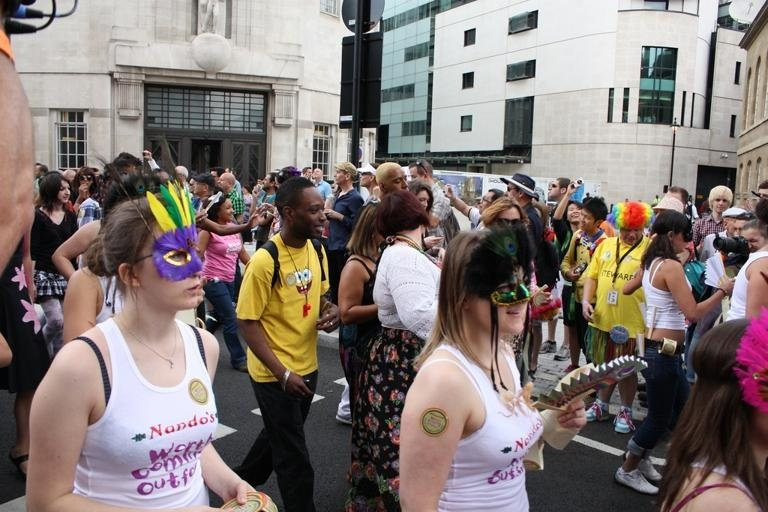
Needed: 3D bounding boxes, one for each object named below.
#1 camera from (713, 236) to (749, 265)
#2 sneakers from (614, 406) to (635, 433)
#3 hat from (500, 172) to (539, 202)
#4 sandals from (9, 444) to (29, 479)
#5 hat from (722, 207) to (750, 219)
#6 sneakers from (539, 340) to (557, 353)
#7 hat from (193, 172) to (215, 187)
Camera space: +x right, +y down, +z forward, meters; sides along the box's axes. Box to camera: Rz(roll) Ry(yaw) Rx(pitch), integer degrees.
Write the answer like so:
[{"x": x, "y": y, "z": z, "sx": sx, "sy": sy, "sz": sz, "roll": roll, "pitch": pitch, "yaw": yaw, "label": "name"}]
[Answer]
[{"x": 3.404, "y": -0.087, "z": 6.691, "sx": 0.295, "sy": 0.192, "sz": 0.289, "roll": 17, "pitch": 15, "yaw": -16, "label": "camera"}, {"x": 2.584, "y": 1.764, "z": 7.347, "sx": 0.156, "sy": 0.151, "sz": 0.325, "roll": -1, "pitch": 8, "yaw": 22, "label": "sneakers"}, {"x": 1.815, "y": -0.938, "z": 8.847, "sx": 0.474, "sy": 0.195, "sz": 0.440, "roll": 33, "pitch": 5, "yaw": -2, "label": "hat"}, {"x": -3.284, "y": 1.839, "z": 6.117, "sx": 0.333, "sy": 0.242, "sz": 0.094, "roll": 11, "pitch": 12, "yaw": 43, "label": "sandals"}, {"x": 4.341, "y": -0.533, "z": 8.364, "sx": 0.265, "sy": 0.128, "sz": 0.352, "roll": 1, "pitch": 9, "yaw": 10, "label": "hat"}, {"x": 2.453, "y": 1.356, "z": 10.166, "sx": 0.118, "sy": 0.179, "sz": 0.332, "roll": -2, "pitch": -4, "yaw": 42, "label": "sneakers"}, {"x": -2.878, "y": -1.242, "z": 10.876, "sx": 0.287, "sy": 0.179, "sz": 0.220, "roll": 18, "pitch": 20, "yaw": 10, "label": "hat"}]
